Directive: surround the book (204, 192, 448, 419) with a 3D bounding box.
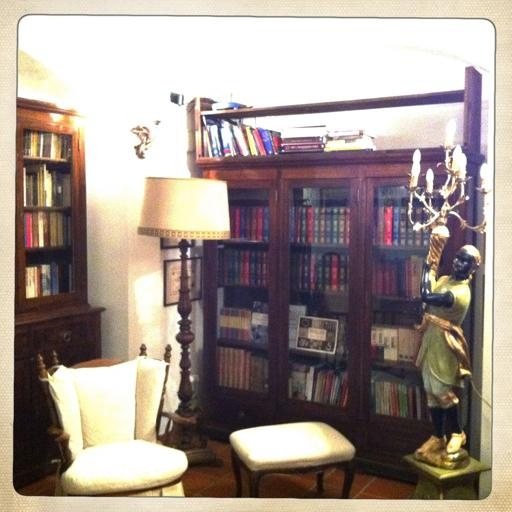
[{"bbox_3d":[0.349,0.209,2.314,0.891,1.003,0.314,1,2,27],"label":"book"}]

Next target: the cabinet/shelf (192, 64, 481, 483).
[{"bbox_3d":[0.309,0.081,2.438,1.214,1.827,0.364,4,13,22],"label":"cabinet/shelf"}]

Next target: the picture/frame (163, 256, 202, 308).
[{"bbox_3d":[-0.358,0.118,2.482,0.210,0.275,0.018,2,-9,-24],"label":"picture/frame"}]

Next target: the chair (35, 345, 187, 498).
[{"bbox_3d":[-0.567,0.609,2.133,0.507,0.715,0.543,0,-3,-25],"label":"chair"}]

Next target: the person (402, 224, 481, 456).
[{"bbox_3d":[0.754,0.331,2.054,0.232,0.911,0.125,1,2,25],"label":"person"}]
